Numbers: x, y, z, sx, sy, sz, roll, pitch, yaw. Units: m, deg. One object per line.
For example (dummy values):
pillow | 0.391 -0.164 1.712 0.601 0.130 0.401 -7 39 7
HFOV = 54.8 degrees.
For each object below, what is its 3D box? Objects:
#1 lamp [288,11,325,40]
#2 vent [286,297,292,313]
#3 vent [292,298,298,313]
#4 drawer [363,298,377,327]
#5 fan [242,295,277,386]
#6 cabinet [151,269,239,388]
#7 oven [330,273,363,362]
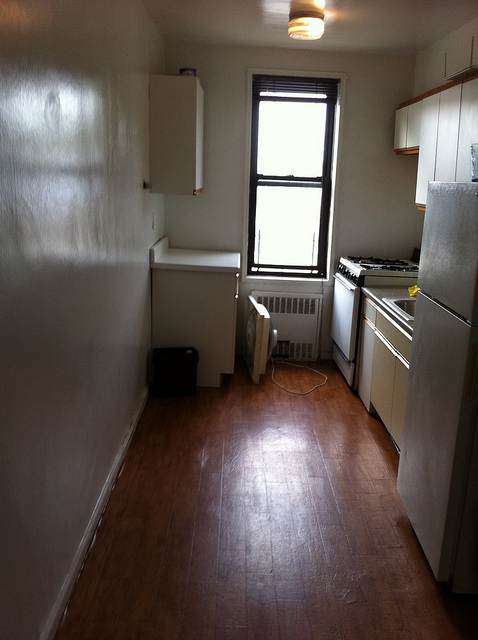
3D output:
lamp | 0.367 -1.624 2.539 0.182 0.084 0.196 4 11 12
vent | 0.469 -0.133 4.342 0.047 0.139 0.021 0 7 -11
vent | 0.524 -0.133 4.340 0.048 0.140 0.021 0 7 -4
drawer | 0.948 -0.066 3.351 0.086 0.195 0.218 1 11 4
fan | 0.208 0.164 3.915 0.132 0.561 0.484 2 13 -5
cabinet | -0.340 -0.033 3.941 0.634 1.356 0.593 -1 14 -4
oven | 0.893 -0.027 3.806 0.219 0.708 0.560 1 10 1
